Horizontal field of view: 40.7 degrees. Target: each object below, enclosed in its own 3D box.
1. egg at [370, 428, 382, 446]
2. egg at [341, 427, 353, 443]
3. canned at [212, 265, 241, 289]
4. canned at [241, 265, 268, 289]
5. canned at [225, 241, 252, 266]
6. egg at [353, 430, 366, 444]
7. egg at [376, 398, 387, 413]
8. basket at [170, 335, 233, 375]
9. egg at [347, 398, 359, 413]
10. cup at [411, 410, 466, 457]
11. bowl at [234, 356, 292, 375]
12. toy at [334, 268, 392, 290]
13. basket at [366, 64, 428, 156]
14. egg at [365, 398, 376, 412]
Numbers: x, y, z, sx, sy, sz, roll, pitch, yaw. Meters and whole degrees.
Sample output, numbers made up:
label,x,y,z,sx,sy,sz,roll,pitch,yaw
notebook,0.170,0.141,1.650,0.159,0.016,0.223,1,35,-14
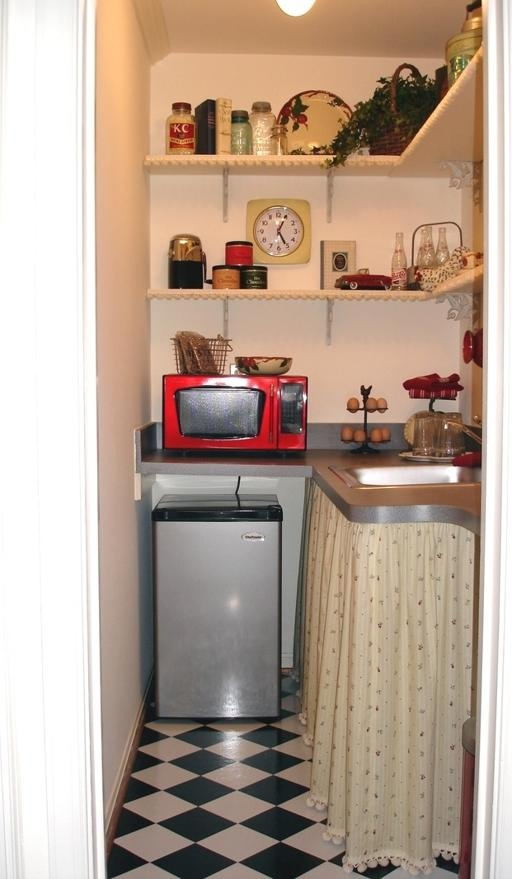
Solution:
label,x,y,z,sx,sy,sz,roll,pitch,yaw
egg,0.448,-0.011,2.620,0.046,0.068,0.051,-1,8,-7
egg,0.350,-0.018,2.647,0.043,0.054,0.104,0,4,8
canned,-0.111,-0.579,2.510,0.081,0.072,0.085,-3,6,-28
canned,-0.003,-0.590,2.555,0.077,0.070,0.085,1,5,11
canned,-0.070,-0.666,2.527,0.084,0.080,0.094,0,8,9
egg,0.390,-0.002,2.620,0.039,0.055,0.043,13,24,16
egg,0.488,-0.138,2.663,0.045,0.065,0.049,6,15,19
basket,-0.203,-0.319,2.504,0.137,0.141,0.233,0,9,-6
egg,0.381,-0.133,2.703,0.043,0.064,0.048,5,-1,-2
cup,0.617,-0.017,2.336,0.100,0.153,0.187,0,0,1
bowl,0.024,-0.257,2.413,0.181,0.077,0.233,-1,3,-10
toy,0.396,-0.572,2.531,0.142,0.063,0.096,0,6,-4
basket,0.499,-1.157,2.390,0.230,0.303,0.137,0,3,15
egg,0.440,-0.132,2.624,0.038,0.056,0.041,-8,14,-25
